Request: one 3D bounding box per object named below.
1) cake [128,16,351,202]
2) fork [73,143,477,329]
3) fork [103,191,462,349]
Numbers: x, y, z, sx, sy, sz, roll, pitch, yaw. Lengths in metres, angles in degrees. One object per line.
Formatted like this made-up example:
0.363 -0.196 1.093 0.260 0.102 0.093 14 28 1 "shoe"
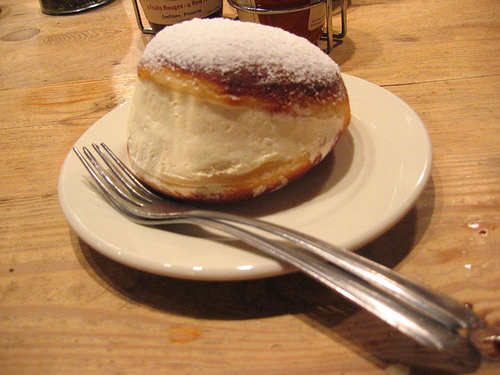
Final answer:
-0.025 -0.161 0.828 0.387 0.199 0.357 -23 41 -34 "cake"
0.031 0.070 0.664 0.558 0.070 0.066 19 40 22 "fork"
-0.069 0.048 0.745 0.697 0.050 0.095 20 30 29 "fork"
